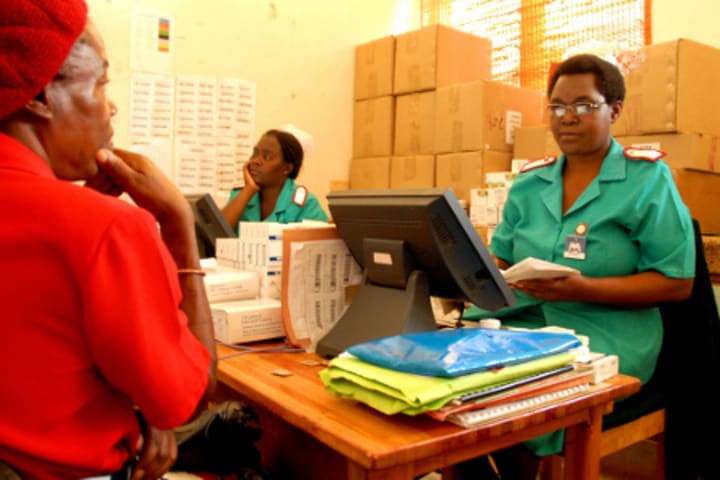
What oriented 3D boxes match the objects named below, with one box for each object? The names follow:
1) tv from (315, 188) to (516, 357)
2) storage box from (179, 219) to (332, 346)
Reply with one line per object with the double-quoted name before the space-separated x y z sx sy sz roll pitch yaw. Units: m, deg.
"tv" 0.165 0.050 1.592 0.506 0.530 0.607 -16 14 -40
"storage box" -0.331 0.100 1.688 0.439 0.248 0.416 -5 6 -41
